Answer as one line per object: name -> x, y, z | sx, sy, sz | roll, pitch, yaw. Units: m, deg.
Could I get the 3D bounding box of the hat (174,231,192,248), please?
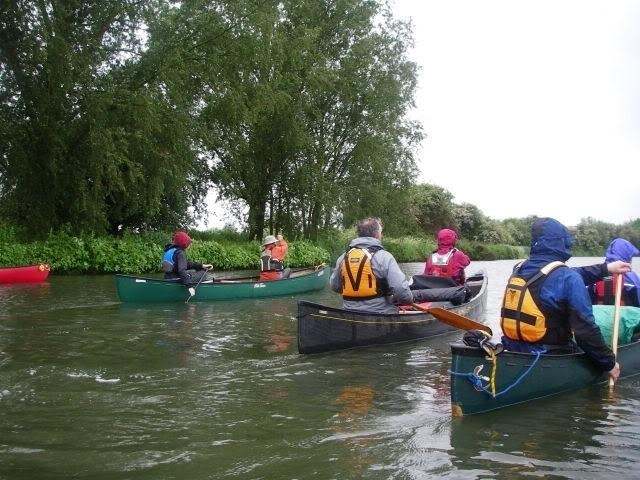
hat -> -3.142, 0.007, 12.670 | 0.309, 0.392, 0.395 | -2, 6, -21

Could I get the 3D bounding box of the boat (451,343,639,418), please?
boat -> 2.878, 1.563, 6.863 | 3.191, 0.492, 0.688 | 2, -8, -38

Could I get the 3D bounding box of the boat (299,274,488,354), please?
boat -> 1.423, 1.122, 9.685 | 4.512, 0.807, 1.111 | 0, 0, -43

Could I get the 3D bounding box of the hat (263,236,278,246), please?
hat -> -1.286, 0.026, 14.284 | 0.452, 0.253, 0.451 | -3, 6, -29

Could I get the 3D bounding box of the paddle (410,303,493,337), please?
paddle -> 1.566, 0.955, 6.770 | 0.661, 0.366, 1.094 | 0, 5, -3

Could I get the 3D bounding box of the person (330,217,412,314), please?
person -> 0.833, 0.415, 8.554 | 1.089, 1.494, 0.573 | 2, 7, 9

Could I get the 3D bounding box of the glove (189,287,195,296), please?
glove -> -2.915, 1.171, 12.778 | 0.185, 0.167, 0.057 | 2, 12, 24

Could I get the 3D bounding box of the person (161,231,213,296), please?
person -> -3.143, 0.561, 12.908 | 0.873, 1.535, 0.688 | -2, 7, -24
